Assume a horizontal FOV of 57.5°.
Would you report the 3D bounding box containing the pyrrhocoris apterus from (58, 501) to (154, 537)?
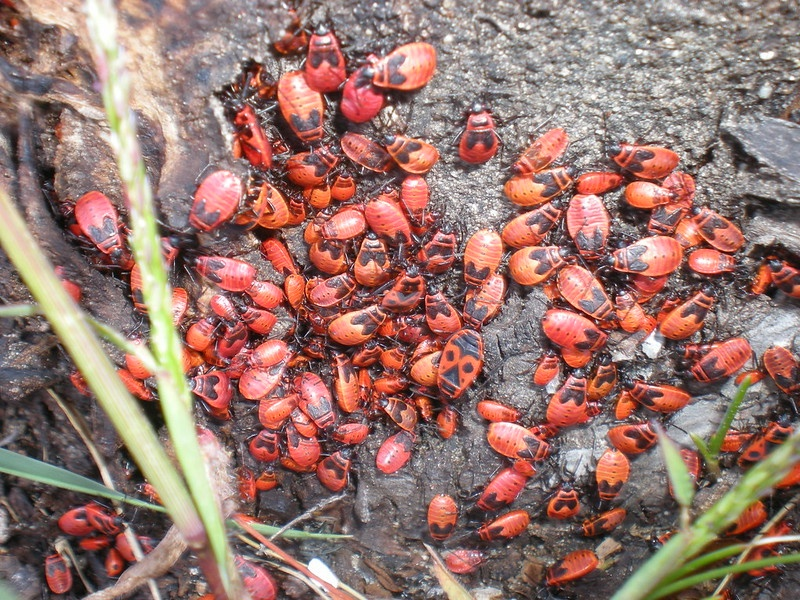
[{"bbox_3d":[-2.379,1.692,5.569,0.398,0.107,0.248,-1,94,-19],"label":"pyrrhocoris apterus"}]
